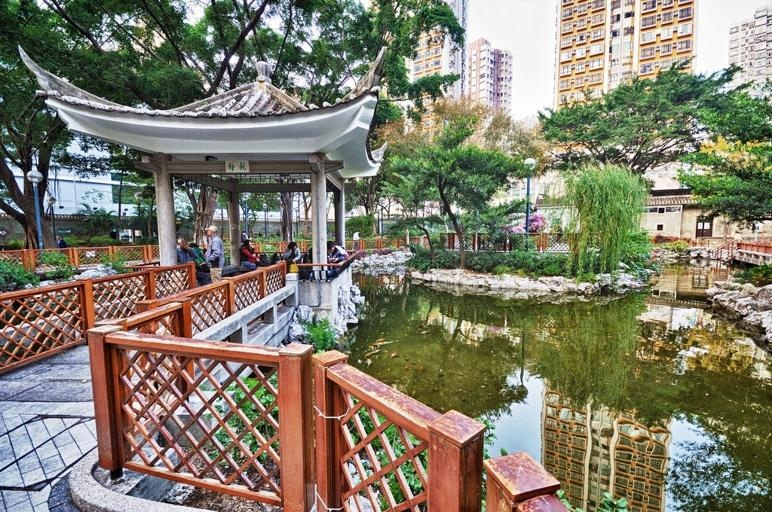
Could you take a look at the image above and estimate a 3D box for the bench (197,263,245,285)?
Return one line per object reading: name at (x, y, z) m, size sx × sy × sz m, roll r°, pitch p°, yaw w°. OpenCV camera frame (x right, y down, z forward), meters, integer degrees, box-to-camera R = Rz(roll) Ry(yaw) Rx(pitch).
bench at (-5.304, 0.591, 16.484) m, size 1.285 × 0.589 × 1.870 m, roll -1°, pitch 4°, yaw -1°
